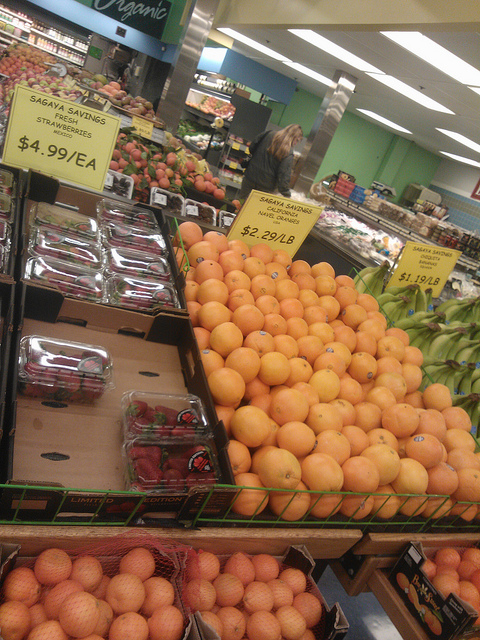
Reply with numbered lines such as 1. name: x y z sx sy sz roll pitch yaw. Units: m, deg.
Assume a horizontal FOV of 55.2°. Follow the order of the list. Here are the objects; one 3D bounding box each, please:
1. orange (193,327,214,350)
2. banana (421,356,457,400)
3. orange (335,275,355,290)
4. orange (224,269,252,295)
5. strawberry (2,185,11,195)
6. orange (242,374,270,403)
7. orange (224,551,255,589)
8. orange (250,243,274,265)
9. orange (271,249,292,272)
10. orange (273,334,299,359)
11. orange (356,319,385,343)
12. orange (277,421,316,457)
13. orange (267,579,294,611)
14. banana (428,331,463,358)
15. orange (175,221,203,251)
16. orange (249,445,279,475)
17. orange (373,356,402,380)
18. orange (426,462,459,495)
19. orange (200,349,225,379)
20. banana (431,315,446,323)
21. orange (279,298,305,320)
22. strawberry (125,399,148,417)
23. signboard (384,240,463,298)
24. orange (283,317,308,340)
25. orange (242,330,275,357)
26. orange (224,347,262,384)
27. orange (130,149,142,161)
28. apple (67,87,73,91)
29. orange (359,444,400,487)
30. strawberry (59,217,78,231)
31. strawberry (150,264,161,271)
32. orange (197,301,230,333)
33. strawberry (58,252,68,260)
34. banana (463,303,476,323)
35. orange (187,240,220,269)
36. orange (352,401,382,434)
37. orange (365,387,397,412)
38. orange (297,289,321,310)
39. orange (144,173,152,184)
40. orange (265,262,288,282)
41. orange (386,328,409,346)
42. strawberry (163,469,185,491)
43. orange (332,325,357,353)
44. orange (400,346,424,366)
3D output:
1. orange: -0.141 0.067 1.619 0.067 0.062 0.076 2 36 -10
2. banana: 0.956 0.261 2.287 0.092 0.183 0.258 -5 -3 1
3. orange: 0.518 -0.188 2.269 0.074 0.083 0.071 -20 21 11
4. orange: -0.012 -0.148 1.847 0.101 0.091 0.096 5 -8 9
5. strawberry: -0.871 -0.476 1.705 0.031 0.028 0.030 12 8 7
6. orange: 0.049 0.234 1.596 0.093 0.086 0.104 10 51 -2
7. orange: -0.004 0.631 1.164 0.055 0.052 0.068 1 50 -19
8. orange: 0.106 -0.298 2.106 0.102 0.106 0.099 2 18 4
9. orange: 0.197 -0.275 2.172 0.104 0.109 0.099 -2 5 3
10. orange: 0.164 0.096 1.691 0.090 0.078 0.099 -1 27 -16
11. orange: 0.569 0.035 1.992 0.097 0.090 0.110 11 18 17
12. orange: 0.162 0.339 1.377 0.118 0.096 0.097 1 29 25
13. orange: 0.103 0.683 1.152 0.056 0.051 0.063 2 22 -10
14. banana: 1.087 0.130 2.448 0.064 0.169 0.041 43 -4 -22
15. orange: -0.222 -0.369 2.007 0.126 0.118 0.141 8 57 -8
16. orange: 0.061 0.393 1.351 0.083 0.076 0.094 7 36 5
17. orange: 0.581 0.181 1.854 0.093 0.085 0.103 4 40 3
18. orange: 0.654 0.511 1.511 0.101 0.109 0.099 -2 -2 3
19. orange: -0.096 0.143 1.506 0.082 0.089 0.078 -3 13 -12
20. banana: 1.095 -0.002 2.514 0.037 0.061 0.033 16 26 -24
21. orange: 0.207 -0.044 1.889 0.086 0.094 0.082 7 -18 -9
22. strawberry: -0.279 0.231 1.228 0.048 0.028 0.036 -21 47 -9
23. signboard: 1.106 -0.293 2.756 0.501 0.328 0.038 3 27 -30
24. orange: 0.218 0.036 1.824 0.088 0.094 0.084 20 -3 -2
25. orange: 0.068 0.079 1.634 0.090 0.101 0.093 -32 26 -34
26. orange: 0.011 0.145 1.546 0.117 0.108 0.131 5 49 -9
27. orange: -0.853 -1.328 3.741 0.089 0.082 0.101 4 -2 -10
28. apple: -1.816 -2.418 4.862 0.071 0.036 0.067 0 34 -10
29. orange: 0.439 0.448 1.454 0.130 0.140 0.124 -4 23 6
30. strawberry: -0.660 -0.362 1.759 0.053 0.018 0.113 15 25 -20
31. strawberry: -0.328 -0.195 1.754 0.032 0.008 0.048 28 24 10
32. orange: -0.098 -0.013 1.630 0.108 0.102 0.121 10 35 -4
33. strawberry: -0.612 -0.216 1.579 0.032 0.016 0.021 14 26 -24
34. banana: 1.444 -0.039 2.901 0.039 0.122 0.049 8 23 -17
35. orange: -0.161 -0.266 1.938 0.119 0.123 0.113 4 4 3
36. orange: 0.426 0.352 1.640 0.095 0.089 0.106 4 54 -6
37. orange: 0.503 0.284 1.681 0.079 0.079 0.089 13 51 -11
38. orange: 0.289 -0.087 1.950 0.088 0.082 0.094 7 52 -10
39. orange: -0.747 -1.126 3.707 0.062 0.075 0.082 -1 46 -3
40. orange: 0.153 -0.201 2.009 0.065 0.069 0.075 49 20 -44
41. orange: 0.708 0.080 2.082 0.093 0.084 0.086 -2 -4 6
42. strawberry: -0.158 0.376 1.083 0.035 0.025 0.044 6 45 -45
43. orange: 0.416 0.088 1.888 0.103 0.109 0.097 7 -17 -7
44. orange: 0.746 0.148 2.005 0.093 0.089 0.087 5 24 8
